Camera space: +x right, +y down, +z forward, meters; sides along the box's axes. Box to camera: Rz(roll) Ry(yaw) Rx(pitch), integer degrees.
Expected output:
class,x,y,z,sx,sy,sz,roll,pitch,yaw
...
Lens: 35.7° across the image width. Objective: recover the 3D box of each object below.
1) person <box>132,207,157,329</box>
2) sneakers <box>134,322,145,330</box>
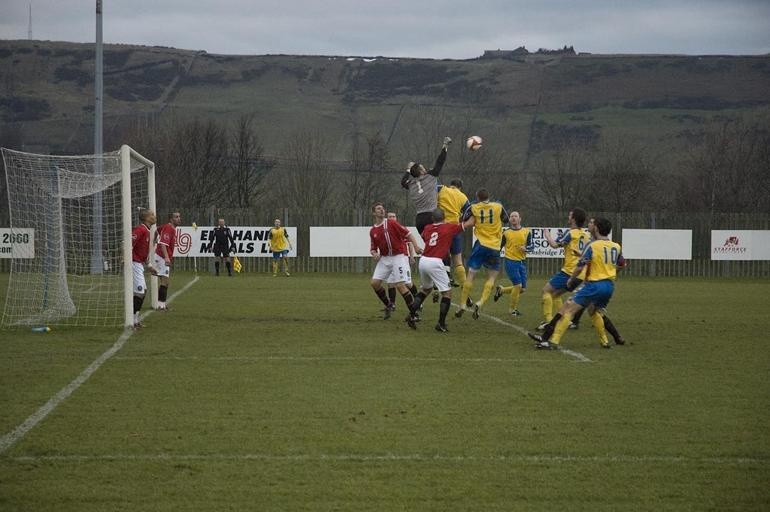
class,x,y,z,sx,sy,sz,roll,pitch,yaw
person,-8.325,0.379,40.636,0.652,3.935,1.114,1,4,5
sneakers,-8.365,2.373,40.261,0.425,0.272,0.138,-5,14,-28
